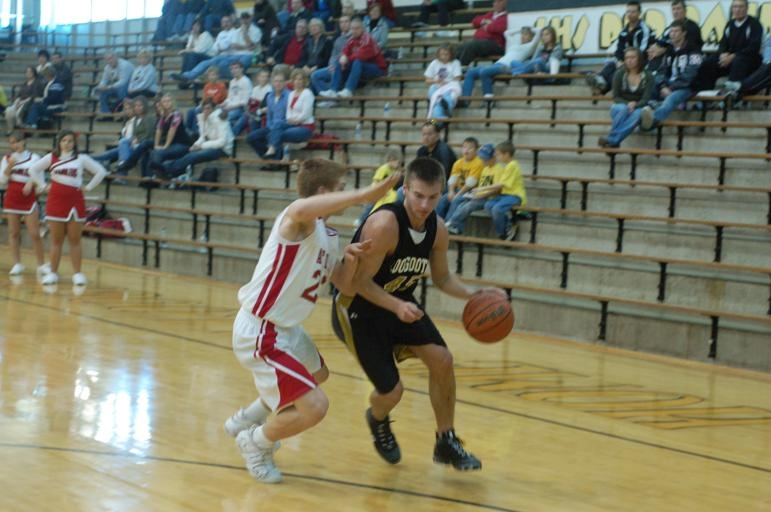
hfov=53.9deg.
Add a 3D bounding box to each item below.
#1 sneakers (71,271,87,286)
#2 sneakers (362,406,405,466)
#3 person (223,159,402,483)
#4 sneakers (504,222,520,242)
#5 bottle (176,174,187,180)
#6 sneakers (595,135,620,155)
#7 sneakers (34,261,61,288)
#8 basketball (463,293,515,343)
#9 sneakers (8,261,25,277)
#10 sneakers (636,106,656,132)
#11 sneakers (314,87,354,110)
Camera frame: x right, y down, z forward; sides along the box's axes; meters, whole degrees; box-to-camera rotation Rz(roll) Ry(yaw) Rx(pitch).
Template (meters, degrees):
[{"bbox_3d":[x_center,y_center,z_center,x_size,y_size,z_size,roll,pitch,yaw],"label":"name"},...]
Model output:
[{"bbox_3d":[-4.109,0.290,10.150,0.142,0.104,0.247,-13,11,-21],"label":"sneakers"},{"bbox_3d":[-0.009,1.333,5.726,0.188,0.485,0.201,-27,8,-27],"label":"sneakers"},{"bbox_3d":[-0.646,0.454,5.399,0.959,2.267,0.597,1,10,-12],"label":"person"},{"bbox_3d":[1.604,-0.298,9.585,0.118,0.287,0.100,34,0,-13],"label":"sneakers"},{"bbox_3d":[-3.290,-1.275,12.256,0.168,0.060,0.122,6,6,42],"label":"bottle"},{"bbox_3d":[2.876,-1.427,9.701,0.305,0.188,0.155,15,15,29],"label":"sneakers"},{"bbox_3d":[-4.626,0.251,10.324,0.206,0.266,0.633,-7,-2,-19],"label":"sneakers"},{"bbox_3d":[0.791,0.458,5.619,0.389,0.375,0.353,5,14,-8],"label":"basketball"},{"bbox_3d":[-5.185,0.176,10.651,0.133,0.130,0.341,5,-5,-5],"label":"sneakers"},{"bbox_3d":[3.297,-1.728,9.573,0.156,0.331,0.158,1,1,26],"label":"sneakers"},{"bbox_3d":[-0.857,-2.614,12.628,0.702,0.269,0.236,0,4,-2],"label":"sneakers"}]
